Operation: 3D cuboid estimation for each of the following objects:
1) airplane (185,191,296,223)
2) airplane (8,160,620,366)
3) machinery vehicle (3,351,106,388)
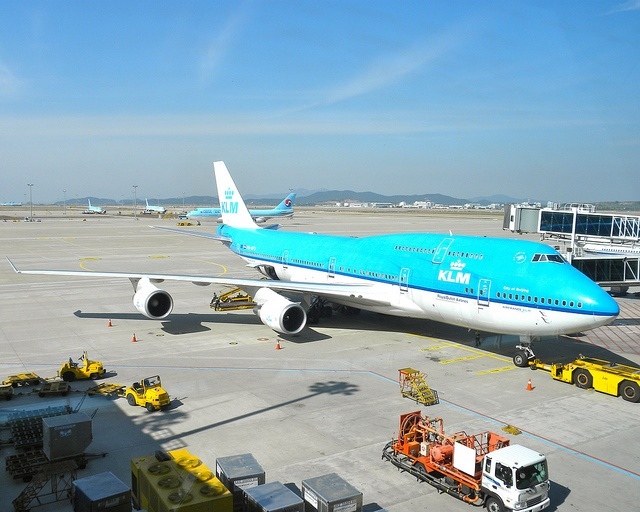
[{"bbox_3d":[-22.774,-12.486,157.997,28.322,6.322,18.729,1,5,0],"label":"airplane"},{"bbox_3d":[2.262,1.026,31.900,23.840,4.083,23.207,-4,7,-39],"label":"airplane"},{"bbox_3d":[-11.890,5.212,25.167,4.461,1.020,1.400,-3,5,-16],"label":"machinery vehicle"}]
